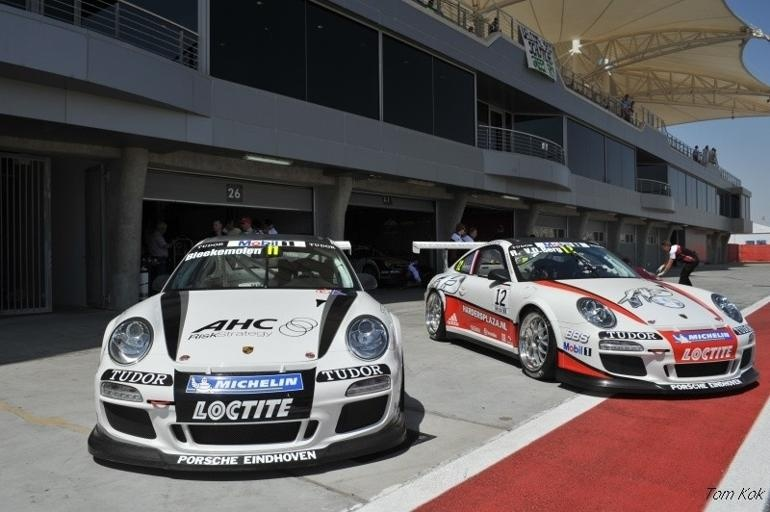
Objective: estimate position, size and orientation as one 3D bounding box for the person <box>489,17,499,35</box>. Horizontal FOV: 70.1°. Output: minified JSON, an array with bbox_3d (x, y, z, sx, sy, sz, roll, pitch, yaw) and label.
[{"bbox_3d":[3.968,-8.367,19.968,0.383,0.763,0.926,0,6,10],"label":"person"}]

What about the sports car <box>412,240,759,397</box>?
[{"bbox_3d":[2.274,0.804,7.772,1.984,1.302,4.158,0,-2,-24],"label":"sports car"}]

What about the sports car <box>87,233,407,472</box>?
[{"bbox_3d":[-1.097,0.800,4.883,1.651,1.052,3.085,-1,-4,-7],"label":"sports car"}]
